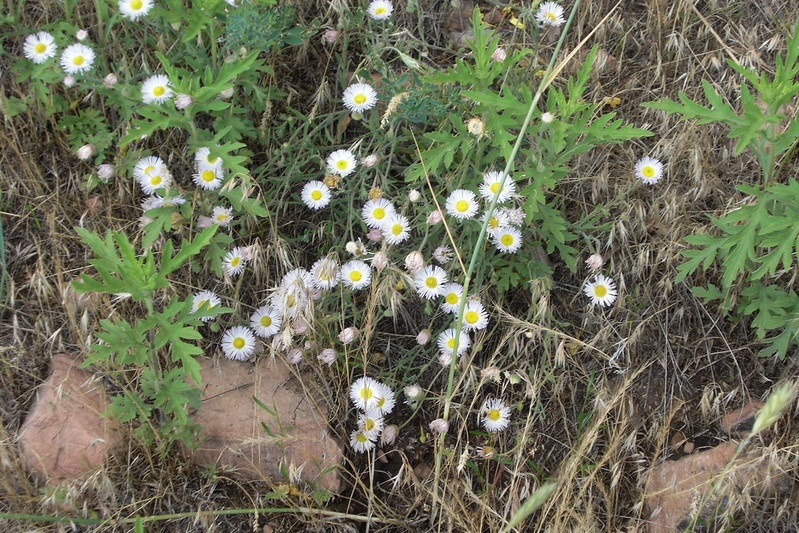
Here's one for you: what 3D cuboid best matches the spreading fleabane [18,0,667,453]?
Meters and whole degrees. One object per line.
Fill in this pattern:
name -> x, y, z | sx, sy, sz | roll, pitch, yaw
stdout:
spreading fleabane -> -0.431, -0.467, 3.551 | 3.050, 1.498, 2.403 | 1, 59, -4
